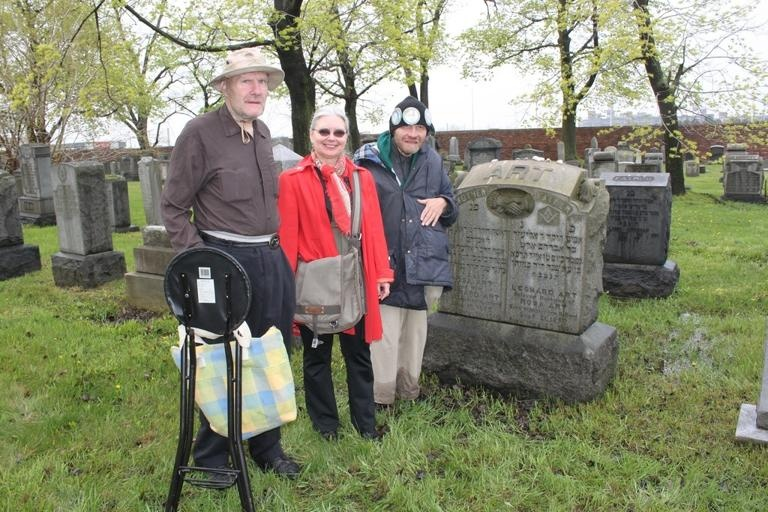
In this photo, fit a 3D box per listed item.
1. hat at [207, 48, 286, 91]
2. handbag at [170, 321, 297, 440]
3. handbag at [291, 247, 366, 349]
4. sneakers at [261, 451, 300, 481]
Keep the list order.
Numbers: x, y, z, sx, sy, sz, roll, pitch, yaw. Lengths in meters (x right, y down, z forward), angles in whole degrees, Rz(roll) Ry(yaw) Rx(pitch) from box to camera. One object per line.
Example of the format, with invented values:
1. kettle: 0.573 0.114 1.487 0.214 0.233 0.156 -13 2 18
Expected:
1. hat: -1.187 -1.634 5.403 0.593 0.364 0.434 1 8 16
2. handbag: -1.202 1.013 5.069 0.815 1.057 0.466 -16 14 8
3. handbag: -0.508 0.338 5.663 0.815 0.959 0.464 -3 0 6
4. sneakers: -0.915 1.869 5.554 0.325 0.161 0.178 5 25 29
